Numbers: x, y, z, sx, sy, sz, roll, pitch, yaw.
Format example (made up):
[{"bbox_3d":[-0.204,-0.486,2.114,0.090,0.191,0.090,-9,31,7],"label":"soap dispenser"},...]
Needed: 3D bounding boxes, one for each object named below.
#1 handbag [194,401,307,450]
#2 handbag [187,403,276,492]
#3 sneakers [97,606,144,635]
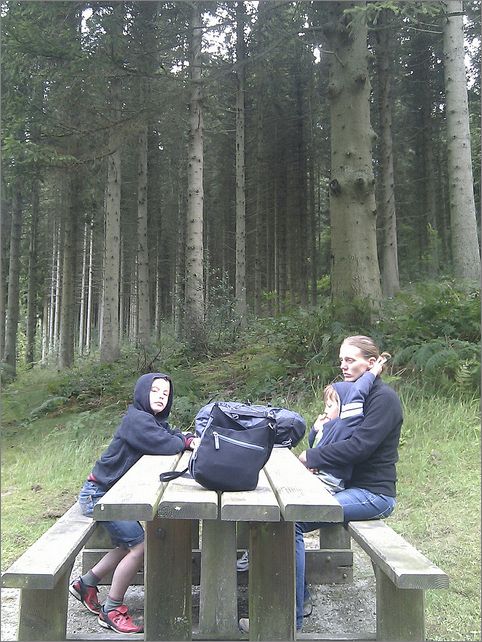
[{"bbox_3d":[0.121,0.638,4.208,0.594,0.223,0.455,5,-15,7],"label":"handbag"},{"bbox_3d":[-0.037,0.663,3.274,0.357,0.374,0.195,16,-7,-5],"label":"handbag"},{"bbox_3d":[-0.705,1.744,3.768,0.294,0.140,0.117,4,-6,14],"label":"sneakers"}]
